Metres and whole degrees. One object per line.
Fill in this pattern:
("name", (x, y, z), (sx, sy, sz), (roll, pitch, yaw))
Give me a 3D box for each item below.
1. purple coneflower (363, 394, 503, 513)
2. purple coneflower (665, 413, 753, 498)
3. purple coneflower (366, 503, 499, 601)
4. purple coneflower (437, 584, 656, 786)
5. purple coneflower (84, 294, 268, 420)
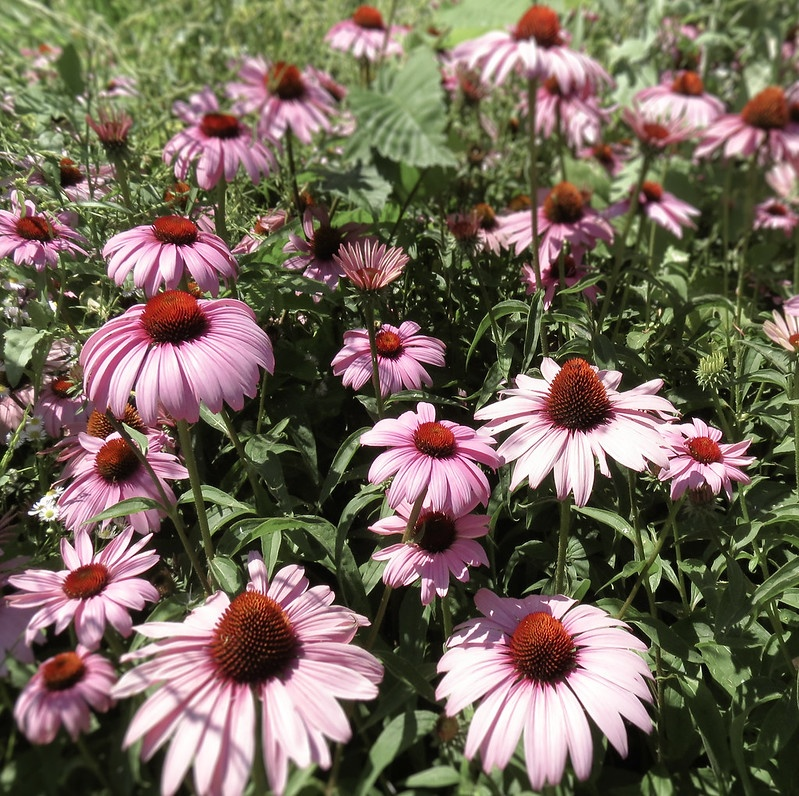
("purple coneflower", (0.073, 0.143, 1.805), (0.209, 0.086, 0.243), (18, 41, 5))
("purple coneflower", (0.758, 0.155, 1.997), (0.265, 0.100, 0.327), (-2, 11, 3))
("purple coneflower", (0.101, 0.358, 1.889), (0.353, 0.094, 0.403), (-6, 4, -28))
("purple coneflower", (0.288, 0.566, 1.611), (0.365, 0.150, 0.384), (15, 40, 30))
("purple coneflower", (-0.469, -0.115, 1.678), (0.385, 0.237, 0.443), (-3, -13, -32))
